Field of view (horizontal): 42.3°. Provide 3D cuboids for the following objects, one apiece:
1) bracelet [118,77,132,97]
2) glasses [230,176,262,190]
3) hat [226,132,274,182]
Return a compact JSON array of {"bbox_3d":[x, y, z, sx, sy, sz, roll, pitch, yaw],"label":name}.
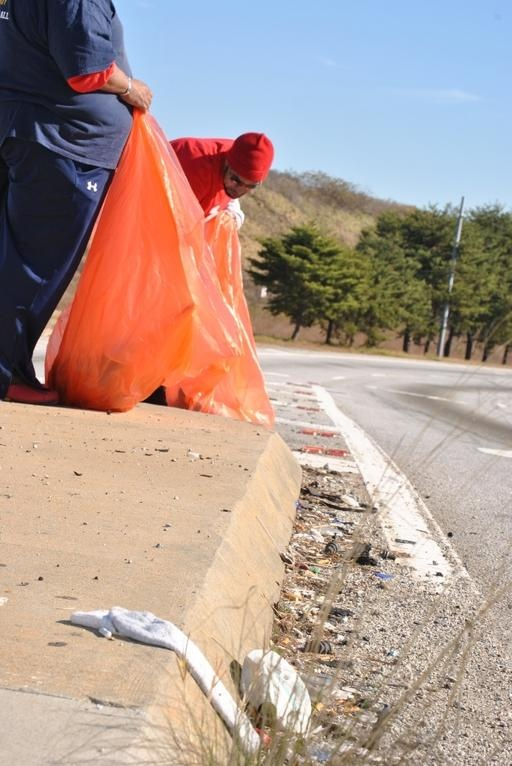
[{"bbox_3d":[-0.675,-1.536,3.427,0.021,0.075,0.084,16,-26,-22],"label":"bracelet"},{"bbox_3d":[-0.100,-1.405,4.570,0.145,0.061,0.173,0,6,-35],"label":"glasses"},{"bbox_3d":[-0.008,-1.542,4.477,0.329,0.282,0.347,1,27,-19],"label":"hat"}]
